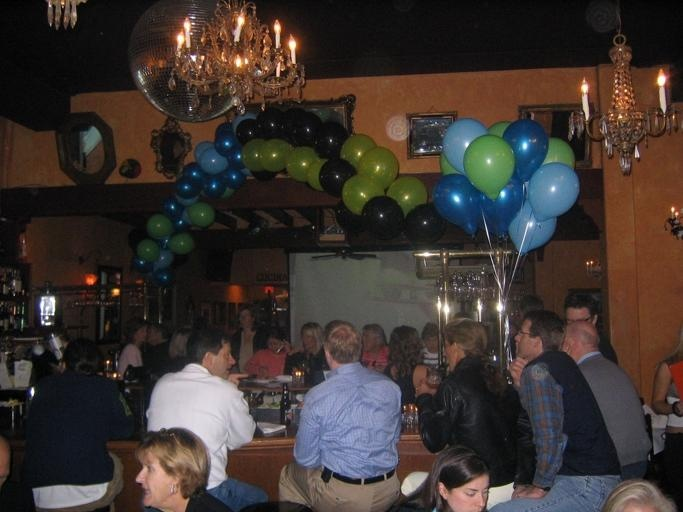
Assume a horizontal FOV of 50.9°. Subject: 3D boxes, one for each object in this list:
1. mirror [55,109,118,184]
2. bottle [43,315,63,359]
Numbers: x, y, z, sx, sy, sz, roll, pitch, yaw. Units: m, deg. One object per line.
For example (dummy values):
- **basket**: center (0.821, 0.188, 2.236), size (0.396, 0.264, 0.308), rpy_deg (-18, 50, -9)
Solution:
- **mirror**: center (-3.077, -1.340, 8.699), size (0.805, 1.119, 0.075), rpy_deg (-1, 2, 0)
- **bottle**: center (-2.943, 0.831, 7.275), size (0.121, 0.482, 0.201), rpy_deg (-23, -21, 1)
